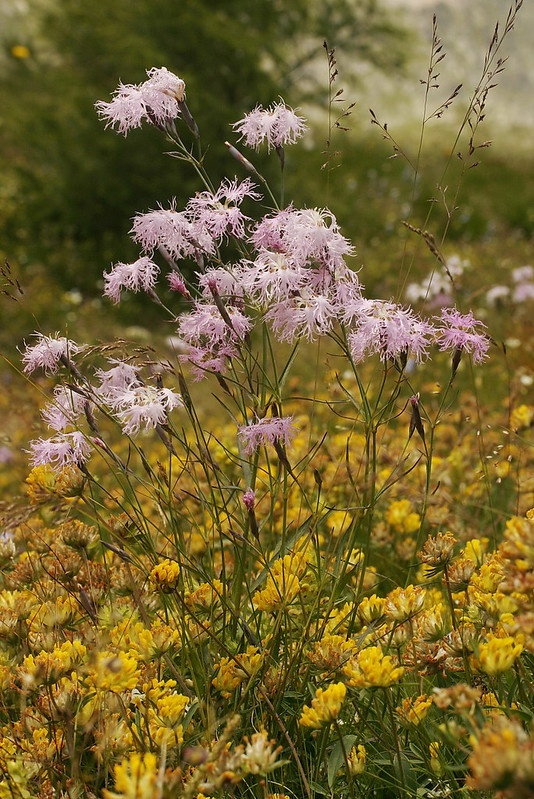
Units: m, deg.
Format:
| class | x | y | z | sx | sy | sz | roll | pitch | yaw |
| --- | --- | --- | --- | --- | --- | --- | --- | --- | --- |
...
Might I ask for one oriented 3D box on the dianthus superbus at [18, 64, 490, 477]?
| class | x | y | z | sx | sy | sz | roll | pitch | yaw |
| --- | --- | --- | --- | --- | --- | --- | --- | --- | --- |
| dianthus superbus | -0.038 | -0.210 | 2.211 | 1.038 | 0.959 | 0.820 | 1 | 31 | -13 |
